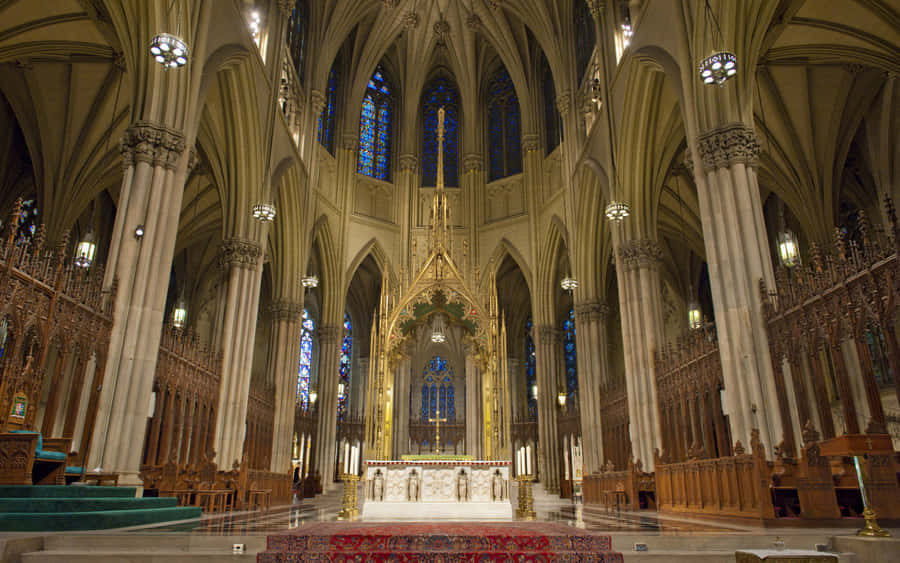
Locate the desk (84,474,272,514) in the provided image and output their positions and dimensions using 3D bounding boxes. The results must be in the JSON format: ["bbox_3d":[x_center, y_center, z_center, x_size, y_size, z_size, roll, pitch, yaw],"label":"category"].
[{"bbox_3d":[-6.111,5.537,15.573,1.252,1.022,3.692,-10,-27,21],"label":"desk"}]

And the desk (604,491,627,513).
[{"bbox_3d":[5.169,6.752,18.415,0.579,0.707,1.069,4,-23,-5],"label":"desk"}]

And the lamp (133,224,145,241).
[{"bbox_3d":[-7.617,-1.210,14.546,0.234,0.393,0.114,16,-28,-32],"label":"lamp"}]
